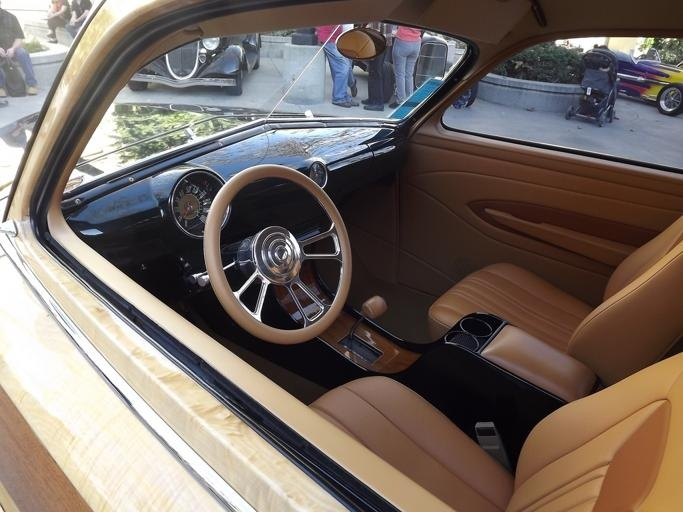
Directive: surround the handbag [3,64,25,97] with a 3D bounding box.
[{"bbox_3d":[-1.148,-0.614,1.587,0.080,0.037,0.160,-10,60,-22],"label":"handbag"}]
